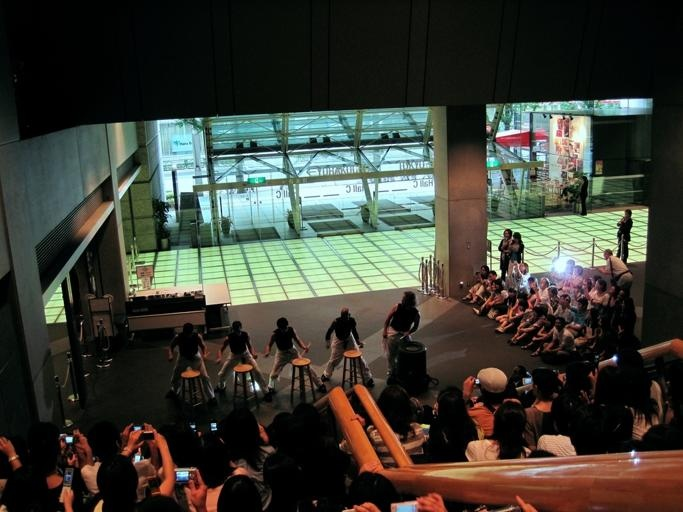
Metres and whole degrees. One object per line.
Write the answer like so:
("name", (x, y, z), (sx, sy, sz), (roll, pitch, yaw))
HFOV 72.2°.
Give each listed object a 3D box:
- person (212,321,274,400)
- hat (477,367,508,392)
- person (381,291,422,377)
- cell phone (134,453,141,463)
("person", (-2.178, 2.170, 9.915), (1.220, 1.695, 0.939), (0, 11, 5))
("hat", (1.883, 1.531, 5.883), (0.268, 0.188, 0.361), (-16, 38, -12))
("person", (1.344, 1.734, 10.647), (0.814, 1.927, 0.656), (-4, 6, 4))
("cell phone", (-1.985, 1.945, 4.533), (0.047, 0.010, 0.082), (8, 36, -6))
